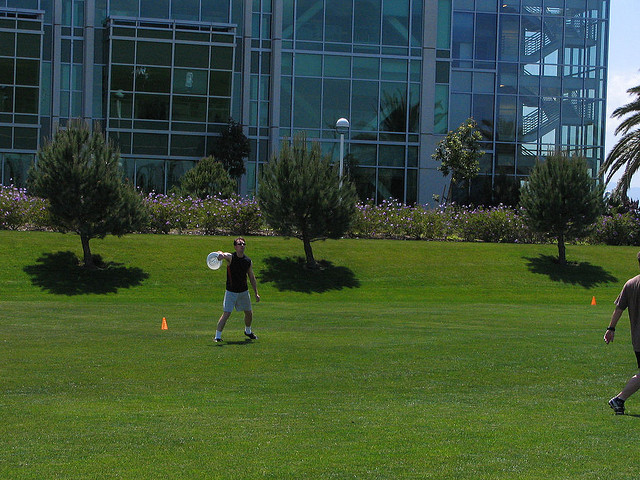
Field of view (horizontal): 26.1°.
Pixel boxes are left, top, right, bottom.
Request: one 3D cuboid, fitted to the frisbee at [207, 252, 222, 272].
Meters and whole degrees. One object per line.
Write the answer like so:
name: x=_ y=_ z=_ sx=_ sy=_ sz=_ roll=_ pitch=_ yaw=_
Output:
frisbee: x=-3.491 y=0.833 z=46.043 sx=0.716 sy=0.659 sz=0.226 roll=0 pitch=4 yaw=2
